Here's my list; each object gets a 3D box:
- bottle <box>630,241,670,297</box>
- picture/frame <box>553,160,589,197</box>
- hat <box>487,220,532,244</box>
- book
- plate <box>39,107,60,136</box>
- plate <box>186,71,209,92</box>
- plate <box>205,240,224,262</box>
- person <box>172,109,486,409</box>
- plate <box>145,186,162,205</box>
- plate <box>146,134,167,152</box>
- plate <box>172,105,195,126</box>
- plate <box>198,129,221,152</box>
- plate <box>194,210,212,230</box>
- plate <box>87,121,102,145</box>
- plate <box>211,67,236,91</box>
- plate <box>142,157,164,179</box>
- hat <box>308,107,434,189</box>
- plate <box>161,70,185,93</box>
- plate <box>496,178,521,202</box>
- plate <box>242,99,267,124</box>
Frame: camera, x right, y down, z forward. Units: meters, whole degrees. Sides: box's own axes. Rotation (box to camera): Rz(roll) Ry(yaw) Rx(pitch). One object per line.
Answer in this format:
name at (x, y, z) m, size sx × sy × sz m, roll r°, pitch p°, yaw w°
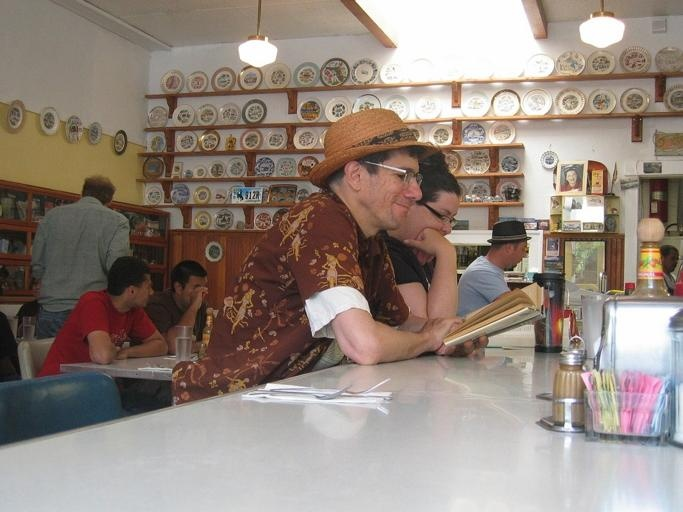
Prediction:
bottle at (0.613, 0.027, 1.106) m, size 0.049 × 0.101 × 0.189 m, roll 0°, pitch -1°, yaw 29°
picture/frame at (2.611, -0.863, 6.340) m, size 0.443 × 0.512 × 0.039 m, roll 2°, pitch -11°, yaw 19°
hat at (1.197, -0.155, 3.960) m, size 0.214 × 0.086 × 0.167 m, roll -6°, pitch 2°, yaw 11°
book at (0.457, 0.192, 1.700) m, size 0.217 × 0.088 × 0.219 m, roll -27°, pitch -7°, yaw 8°
plate at (-3.339, -1.524, 6.419) m, size 0.058 × 0.252 × 0.250 m, roll 2°, pitch 2°, yaw 17°
plate at (-1.987, -2.396, 7.781) m, size 0.281 × 0.291 × 0.066 m, roll 5°, pitch 6°, yaw 11°
plate at (-1.668, -0.052, 7.421) m, size 0.237 × 0.242 × 0.024 m, roll -12°, pitch -7°, yaw 8°
person at (-0.035, 0.151, 1.771) m, size 0.825 × 1.165 × 0.528 m, roll 16°, pitch 20°, yaw 29°
plate at (-2.622, -0.843, 7.865) m, size 0.259 × 0.257 × 0.088 m, roll -4°, pitch -3°, yaw 11°
plate at (-2.593, -1.575, 7.902) m, size 0.269 × 0.277 × 0.062 m, roll 20°, pitch 3°, yaw 14°
plate at (-2.189, -1.934, 7.791) m, size 0.298 × 0.306 × 0.060 m, roll -3°, pitch -8°, yaw 16°
plate at (-1.812, -1.573, 7.708) m, size 0.310 × 0.309 × 0.074 m, roll -11°, pitch 1°, yaw 14°
plate at (-1.893, -0.488, 7.610) m, size 0.239 × 0.245 × 0.057 m, roll -3°, pitch -11°, yaw 10°
plate at (-3.094, -1.540, 7.051) m, size 0.053 × 0.227 × 0.231 m, roll 0°, pitch -39°, yaw 19°
plate at (-1.605, -2.419, 7.696) m, size 0.351 × 0.360 × 0.085 m, roll -3°, pitch -9°, yaw 14°
plate at (-2.623, -1.228, 7.834) m, size 0.287 × 0.302 × 0.063 m, roll -1°, pitch -9°, yaw 15°
hat at (0.084, -0.303, 1.692) m, size 0.280 × 0.108 × 0.246 m, roll -26°, pitch -8°, yaw 21°
plate at (-2.345, -2.415, 7.834) m, size 0.307 × 0.316 × 0.073 m, roll 7°, pitch 3°, yaw 17°
plate at (2.018, -0.789, 6.734) m, size 0.286 × 0.299 × 0.132 m, roll 0°, pitch -1°, yaw 17°
plate at (-1.163, -1.932, 7.542) m, size 0.332 × 0.343 × 0.079 m, roll 7°, pitch 3°, yaw 15°
